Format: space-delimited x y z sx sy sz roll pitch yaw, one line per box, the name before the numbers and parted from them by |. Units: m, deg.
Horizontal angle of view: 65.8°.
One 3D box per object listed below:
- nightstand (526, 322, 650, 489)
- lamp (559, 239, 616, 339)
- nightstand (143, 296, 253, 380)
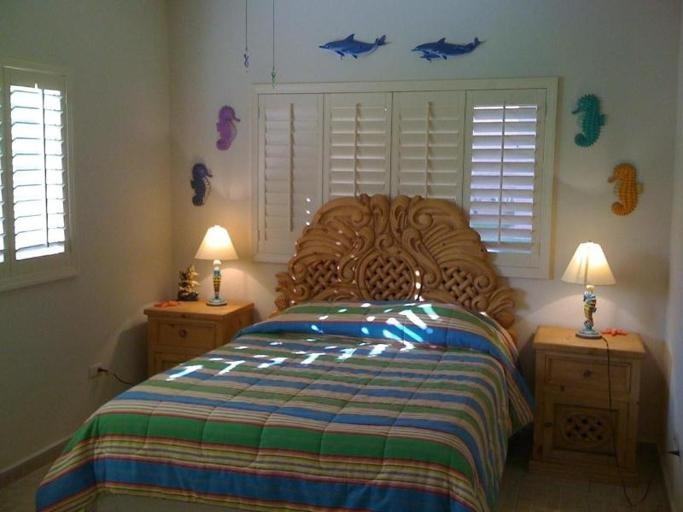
nightstand | 1.568 0.921 3.424 0.713 0.884 0.546 3 13 26
lamp | 1.613 0.235 3.435 0.324 0.618 0.334 0 -1 19
nightstand | -1.096 0.519 4.075 0.596 0.658 0.567 2 5 17
